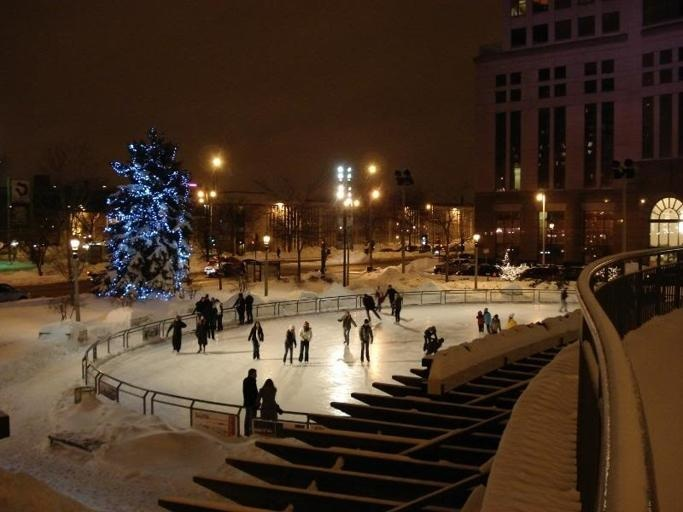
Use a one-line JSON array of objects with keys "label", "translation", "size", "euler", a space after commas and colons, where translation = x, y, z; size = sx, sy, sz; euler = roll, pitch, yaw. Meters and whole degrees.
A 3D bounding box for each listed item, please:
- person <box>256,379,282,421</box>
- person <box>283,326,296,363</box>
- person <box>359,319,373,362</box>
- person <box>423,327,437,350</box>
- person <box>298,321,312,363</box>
[{"label": "person", "translation": [-1.785, 3.629, 14.585], "size": [0.480, 1.091, 2.184], "euler": [-4, 0, -9]}, {"label": "person", "translation": [-1.944, 3.173, 21.745], "size": [0.466, 1.342, 1.924], "euler": [-4, 0, -6]}, {"label": "person", "translation": [0.836, 3.098, 21.688], "size": [0.455, 1.492, 1.089], "euler": [-4, 0, 1]}, {"label": "person", "translation": [3.139, 2.983, 21.345], "size": [0.401, 0.342, 0.993], "euler": [-14, -21, 4]}, {"label": "person", "translation": [-1.378, 3.120, 21.699], "size": [0.440, 1.460, 1.587], "euler": [-4, 0, -5]}]
